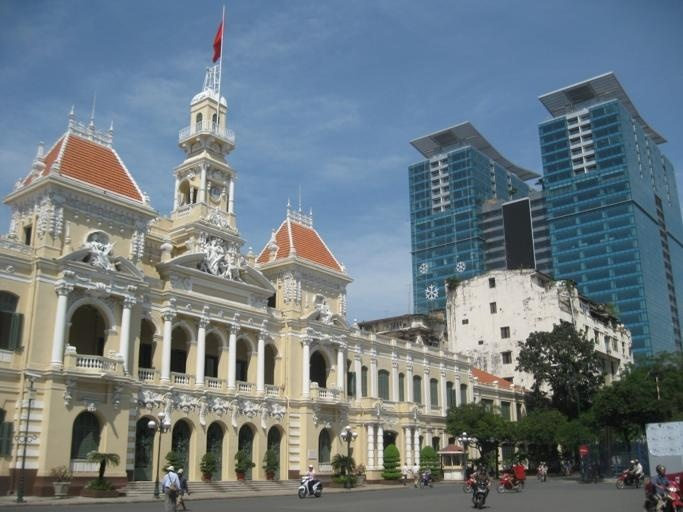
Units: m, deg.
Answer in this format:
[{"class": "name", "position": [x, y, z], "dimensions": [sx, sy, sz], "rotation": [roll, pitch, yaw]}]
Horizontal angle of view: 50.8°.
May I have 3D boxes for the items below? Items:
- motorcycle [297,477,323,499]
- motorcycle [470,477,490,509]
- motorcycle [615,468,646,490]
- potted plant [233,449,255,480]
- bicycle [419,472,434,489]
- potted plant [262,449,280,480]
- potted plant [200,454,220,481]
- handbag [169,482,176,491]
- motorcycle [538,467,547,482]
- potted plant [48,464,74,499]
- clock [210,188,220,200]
[{"class": "motorcycle", "position": [-2.011, 14.932, 46.316], "dimensions": [1.017, 1.320, 2.048], "rotation": [-7, -21, 17]}, {"class": "motorcycle", "position": [7.386, 12.895, 38.715], "dimensions": [0.976, 1.279, 2.306], "rotation": [3, -32, 3]}, {"class": "motorcycle", "position": [20.898, 16.311, 52.082], "dimensions": [2.710, 1.552, 1.222], "rotation": [8, -26, -7]}, {"class": "potted plant", "position": [-7.278, 15.653, 53.945], "dimensions": [1.087, 2.318, 2.497], "rotation": [-2, -20, 4]}, {"class": "bicycle", "position": [6.638, 17.670, 56.730], "dimensions": [0.944, 1.313, 1.325], "rotation": [-2, -20, 5]}, {"class": "potted plant", "position": [-5.435, 16.170, 55.827], "dimensions": [0.953, 2.452, 2.579], "rotation": [-2, -20, 5]}, {"class": "potted plant", "position": [-9.472, 15.193, 51.374], "dimensions": [1.658, 2.267, 1.600], "rotation": [1, -33, -5]}, {"class": "handbag", "position": [-7.924, 11.006, 33.956], "dimensions": [0.116, 0.302, 0.442], "rotation": [-11, -22, 28]}, {"class": "motorcycle", "position": [17.831, 19.361, 63.244], "dimensions": [0.848, 1.068, 1.693], "rotation": [-2, -27, 12]}, {"class": "potted plant", "position": [-16.795, 13.656, 43.355], "dimensions": [1.297, 1.850, 1.372], "rotation": [12, -23, -32]}, {"class": "clock", "position": [-10.222, -5.042, 58.216], "dimensions": [0.176, 1.122, 0.898], "rotation": [-13, -23, 32]}]
